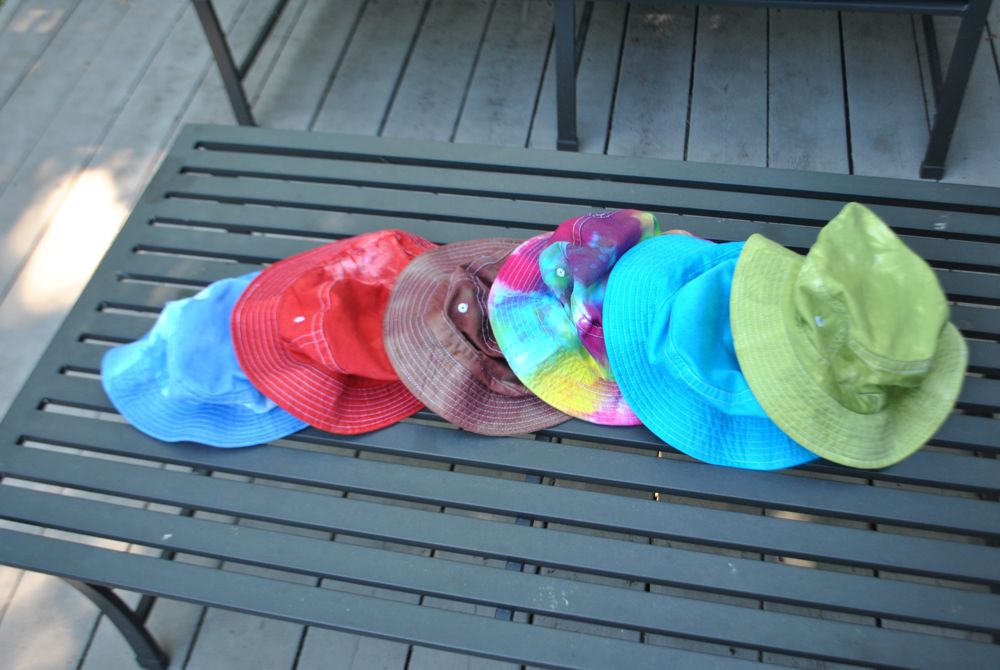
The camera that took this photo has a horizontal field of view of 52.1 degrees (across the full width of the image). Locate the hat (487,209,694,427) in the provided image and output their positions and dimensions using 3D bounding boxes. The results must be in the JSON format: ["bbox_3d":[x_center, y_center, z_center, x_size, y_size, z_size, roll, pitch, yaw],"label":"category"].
[{"bbox_3d":[0.150,-0.046,2.610,0.727,0.167,0.458,4,84,-2],"label":"hat"}]

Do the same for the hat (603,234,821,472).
[{"bbox_3d":[0.470,0.043,2.414,0.771,0.166,0.505,9,85,-4],"label":"hat"}]
